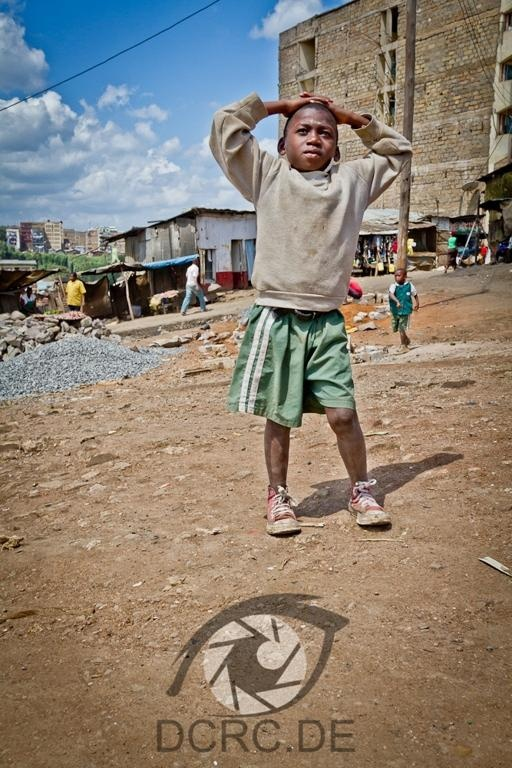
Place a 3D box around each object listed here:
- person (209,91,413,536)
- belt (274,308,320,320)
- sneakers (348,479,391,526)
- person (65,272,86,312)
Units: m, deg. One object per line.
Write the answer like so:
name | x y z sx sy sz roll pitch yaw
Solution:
person | 0.257 -0.296 2.224 0.805 1.720 0.551 -10 12 -11
belt | 0.163 -0.272 2.174 0.177 0.062 0.064 -7 11 2
sneakers | 0.436 0.483 2.249 0.094 0.138 0.219 0 -6 -12
person | -5.498 -2.805 17.170 0.576 1.173 1.201 -12 12 -17
